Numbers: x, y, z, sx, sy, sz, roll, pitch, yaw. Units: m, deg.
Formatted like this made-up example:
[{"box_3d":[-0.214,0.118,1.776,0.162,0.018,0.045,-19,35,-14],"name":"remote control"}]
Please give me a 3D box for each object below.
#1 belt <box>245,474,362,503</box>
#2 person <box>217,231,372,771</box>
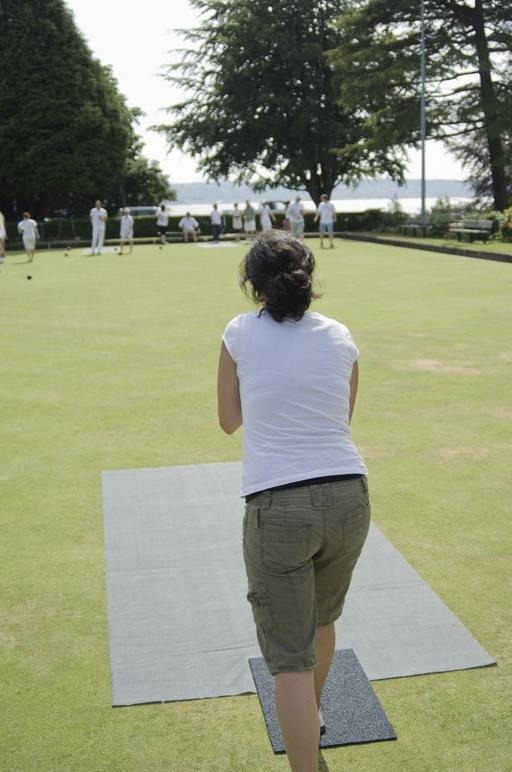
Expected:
[{"box_3d":[0.127,0.249,1.751,0.301,0.075,0.090,-3,11,-9],"name":"belt"},{"box_3d":[0.098,0.376,1.894,0.388,1.539,0.478,-1,11,0],"name":"person"}]
